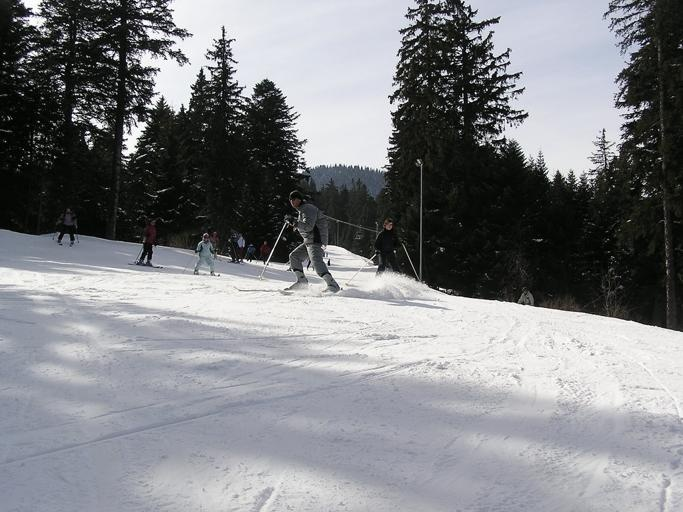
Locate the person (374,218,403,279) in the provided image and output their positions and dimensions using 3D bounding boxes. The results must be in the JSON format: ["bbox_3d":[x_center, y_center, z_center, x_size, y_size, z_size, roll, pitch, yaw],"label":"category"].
[{"bbox_3d":[1.228,-0.280,16.166,0.677,1.527,1.764,3,13,3],"label":"person"}]

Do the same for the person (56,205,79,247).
[{"bbox_3d":[-10.709,-1.223,23.403,0.660,1.679,0.425,6,-35,-28],"label":"person"}]

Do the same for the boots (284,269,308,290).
[{"bbox_3d":[-1.069,0.557,13.815,0.559,0.672,0.294,0,-3,-18],"label":"boots"}]

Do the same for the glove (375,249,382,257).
[{"bbox_3d":[0.994,-0.112,16.075,0.149,0.184,0.038,-1,8,-7],"label":"glove"}]

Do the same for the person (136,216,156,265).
[{"bbox_3d":[-7.127,-0.440,21.937,0.609,1.756,3.084,-2,14,-17],"label":"person"}]
